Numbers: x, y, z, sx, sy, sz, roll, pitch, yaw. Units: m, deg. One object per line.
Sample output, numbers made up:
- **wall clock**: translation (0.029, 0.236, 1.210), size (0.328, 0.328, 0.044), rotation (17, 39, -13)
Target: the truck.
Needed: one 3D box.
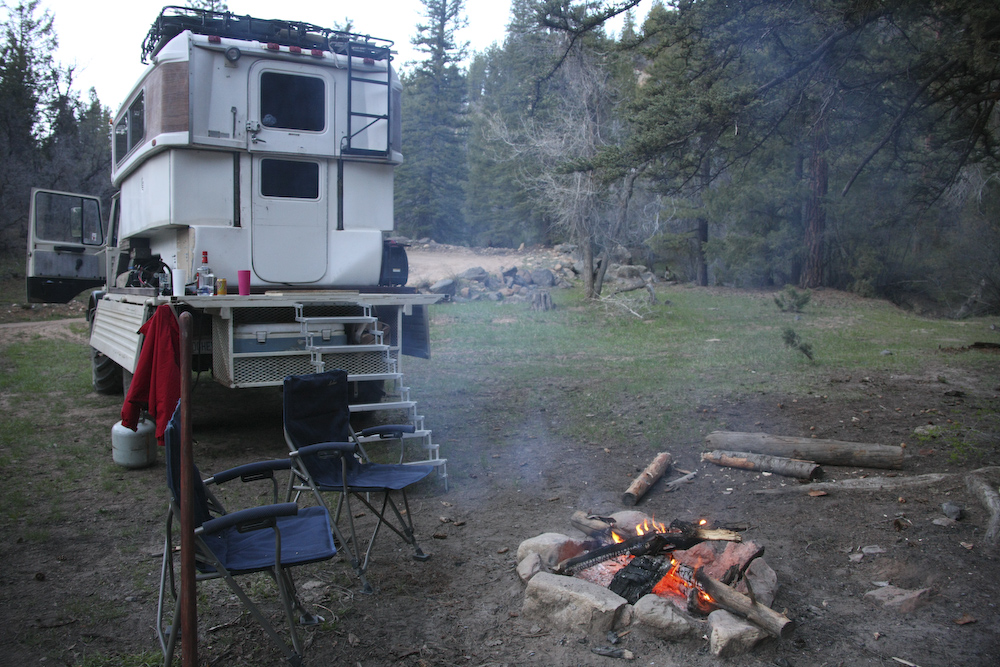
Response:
- **truck**: translation (-4.053, -0.562, 12.085), size (5.708, 3.400, 7.668), rotation (0, 6, -36)

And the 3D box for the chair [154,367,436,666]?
- **chair**: translation (-2.004, 1.683, 7.181), size (1.490, 2.297, 2.461), rotation (1, 7, 20)

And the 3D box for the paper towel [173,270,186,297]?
- **paper towel**: translation (-4.079, -0.651, 9.296), size (0.146, 0.322, 0.795), rotation (-5, 7, -24)

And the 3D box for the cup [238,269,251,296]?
- **cup**: translation (-3.340, -0.668, 9.548), size (0.130, 0.307, 0.198), rotation (-5, 7, -25)
